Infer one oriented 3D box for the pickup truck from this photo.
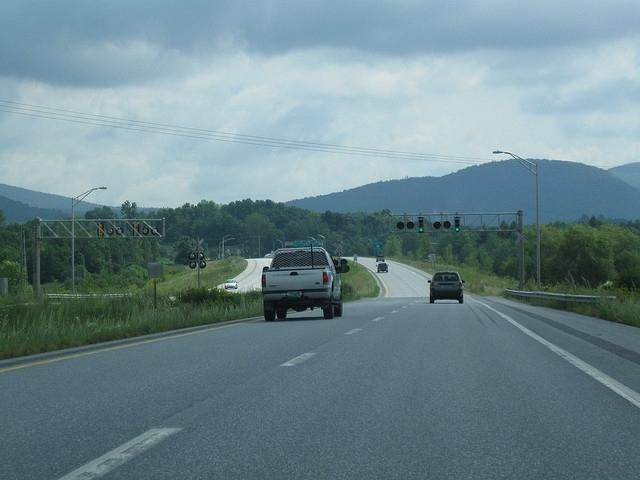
[{"bbox_3d":[-0.458,1.402,25.219,1.745,1.525,3.063,-1,1,10],"label":"pickup truck"}]
